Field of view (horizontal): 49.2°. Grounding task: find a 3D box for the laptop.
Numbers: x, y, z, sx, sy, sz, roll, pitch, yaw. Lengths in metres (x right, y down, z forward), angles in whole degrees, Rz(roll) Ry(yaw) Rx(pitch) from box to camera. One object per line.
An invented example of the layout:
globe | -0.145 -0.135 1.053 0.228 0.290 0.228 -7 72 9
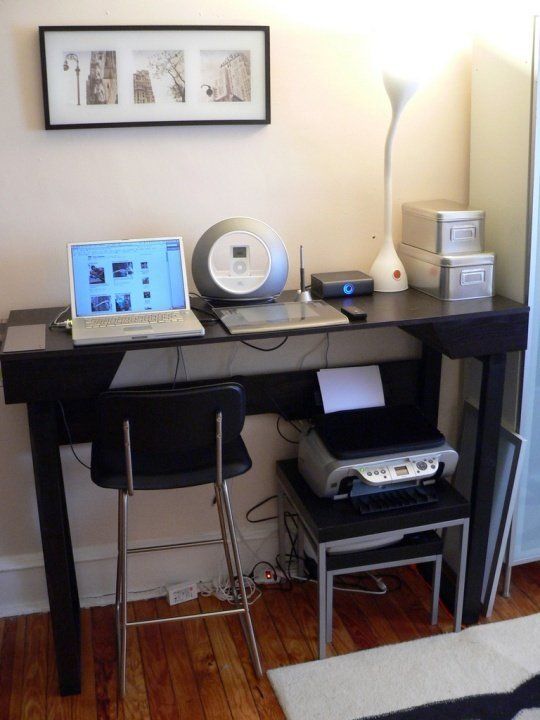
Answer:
laptop | -0.344 -0.184 1.488 0.308 0.240 0.303 -6 12 -20

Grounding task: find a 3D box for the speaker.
speaker | -0.096 -0.286 1.721 0.211 0.219 0.108 -2 24 -4

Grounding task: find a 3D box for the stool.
stool | 0.311 0.490 1.838 0.434 0.438 0.532 -2 9 -9

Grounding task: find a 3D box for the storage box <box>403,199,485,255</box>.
storage box | 0.535 -0.434 1.847 0.138 0.134 0.233 -6 20 -22

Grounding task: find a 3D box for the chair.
chair | -0.246 0.472 1.647 0.458 0.924 0.522 -5 11 -18
